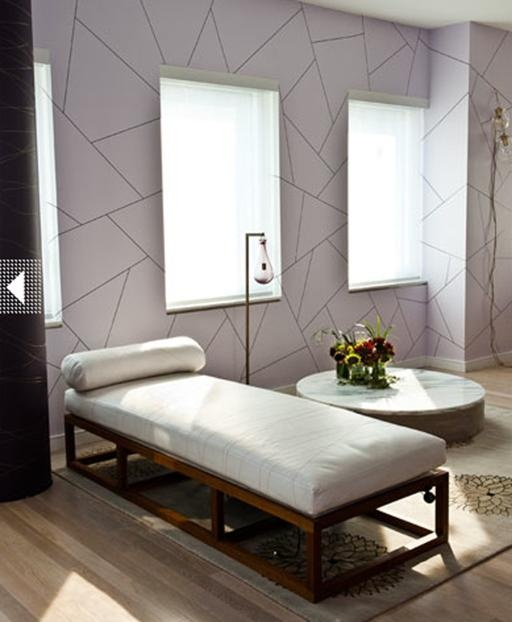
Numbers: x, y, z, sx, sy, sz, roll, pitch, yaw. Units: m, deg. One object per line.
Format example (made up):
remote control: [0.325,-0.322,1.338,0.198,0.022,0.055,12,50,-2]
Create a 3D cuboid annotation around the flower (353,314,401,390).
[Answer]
flower: [0.685,0.245,3.122,0.286,0.346,0.288,4,5,32]
